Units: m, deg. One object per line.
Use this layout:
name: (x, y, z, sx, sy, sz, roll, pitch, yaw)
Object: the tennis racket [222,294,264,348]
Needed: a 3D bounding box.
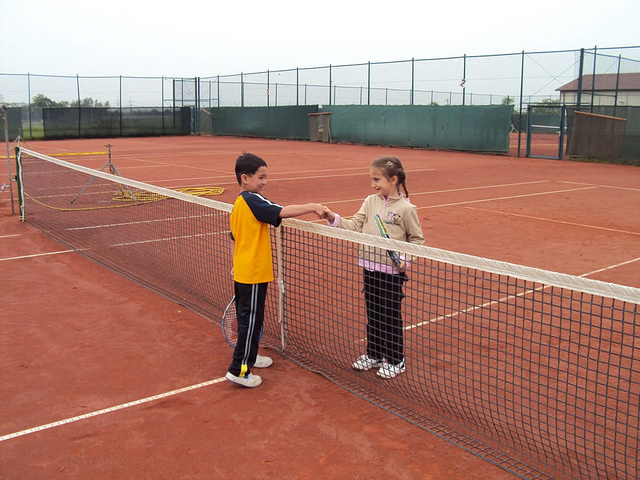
tennis racket: (-0.822, 0.742, 4.949, 0.379, 0.854, 0.046, -6, 39, -5)
